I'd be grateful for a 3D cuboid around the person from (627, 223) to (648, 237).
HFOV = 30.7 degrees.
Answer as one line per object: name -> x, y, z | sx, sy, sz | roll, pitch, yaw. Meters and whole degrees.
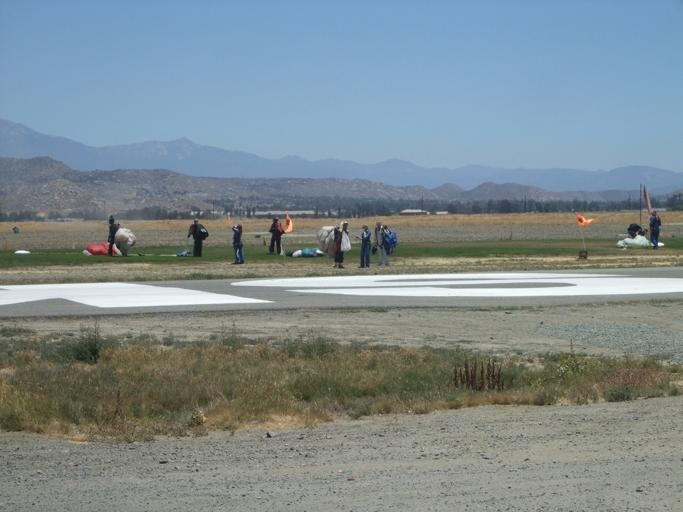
person -> 16.595, -1.388, 69.905 | 0.886, 0.527, 1.283 | 6, -11, 33
